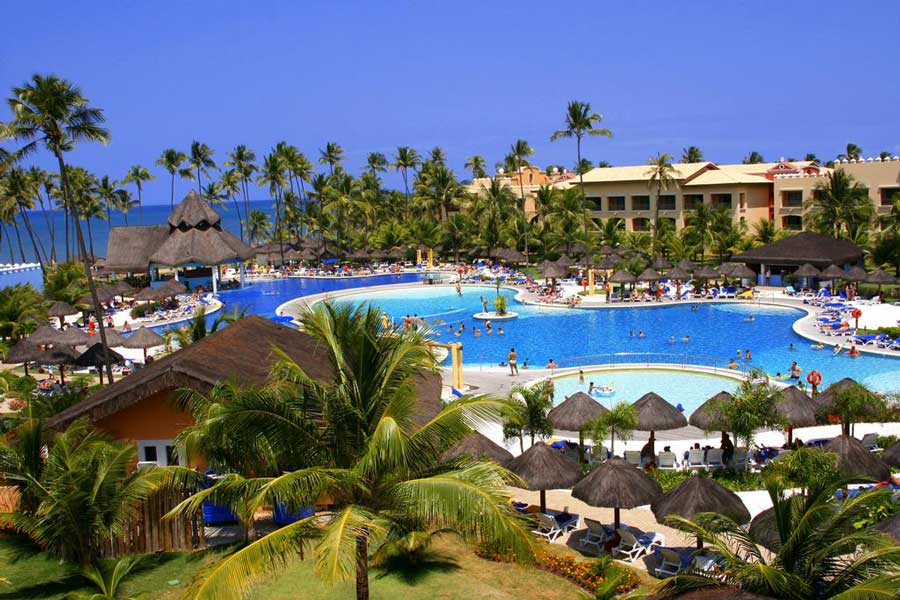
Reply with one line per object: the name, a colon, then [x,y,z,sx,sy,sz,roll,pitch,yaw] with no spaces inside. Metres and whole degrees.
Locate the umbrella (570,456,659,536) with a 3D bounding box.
umbrella: [4.803,5.572,23.945,2.117,2.166,2.149,-3,13,1]
